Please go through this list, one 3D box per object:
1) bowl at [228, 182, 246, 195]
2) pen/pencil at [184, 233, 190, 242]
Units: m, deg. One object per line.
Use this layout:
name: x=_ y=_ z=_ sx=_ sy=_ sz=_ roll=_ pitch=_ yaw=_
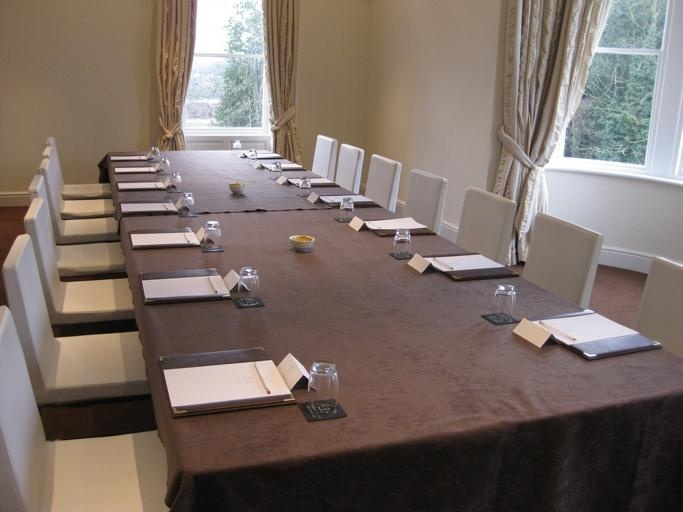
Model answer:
bowl: x=-0.827 y=-0.535 z=3.785 sx=0.109 sy=0.075 sz=0.113 roll=1 pitch=9 yaw=0
pen/pencil: x=-0.878 y=-0.106 z=2.709 sx=0.024 sy=0.027 sz=0.172 roll=-6 pitch=23 yaw=-13
